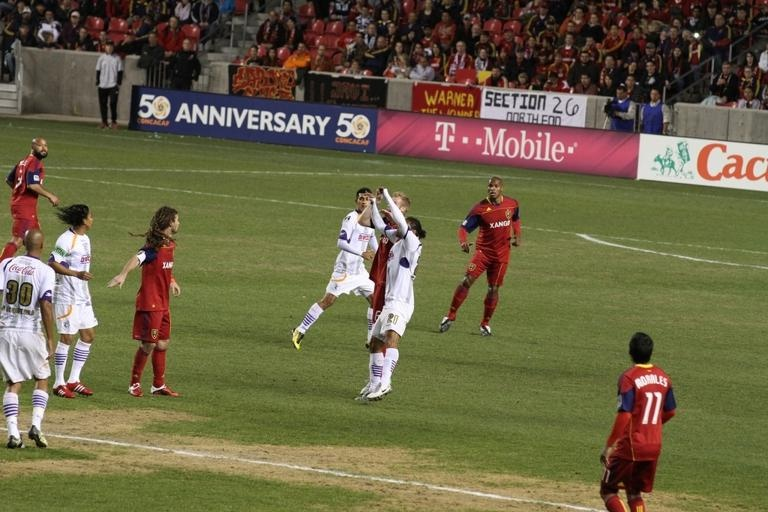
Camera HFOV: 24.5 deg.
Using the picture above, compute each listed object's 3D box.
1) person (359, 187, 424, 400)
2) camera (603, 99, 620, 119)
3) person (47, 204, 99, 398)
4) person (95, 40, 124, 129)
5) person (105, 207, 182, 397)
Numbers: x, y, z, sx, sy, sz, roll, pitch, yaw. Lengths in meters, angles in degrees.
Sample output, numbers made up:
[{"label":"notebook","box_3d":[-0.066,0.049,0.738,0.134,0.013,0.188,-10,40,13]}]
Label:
[{"label":"person","box_3d":[0.123,0.835,35.474,1.051,4.031,0.809,2,7,-13]},{"label":"camera","box_3d":[7.150,-4.509,54.799,0.481,0.635,0.366,5,2,17]},{"label":"person","box_3d":[-6.125,0.868,35.153,1.291,3.785,1.533,2,2,3]},{"label":"person","box_3d":[-9.579,-5.701,59.768,1.233,2.745,1.164,1,4,-5]},{"label":"person","box_3d":[-4.587,0.890,34.798,1.123,3.704,0.556,2,7,-10]}]
